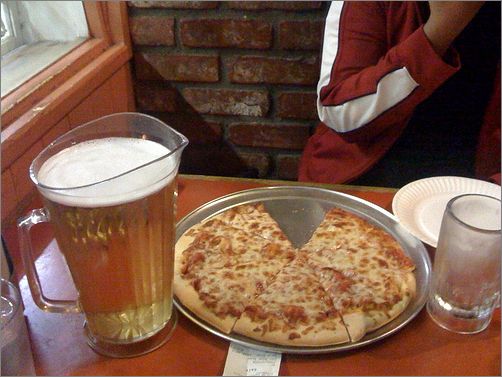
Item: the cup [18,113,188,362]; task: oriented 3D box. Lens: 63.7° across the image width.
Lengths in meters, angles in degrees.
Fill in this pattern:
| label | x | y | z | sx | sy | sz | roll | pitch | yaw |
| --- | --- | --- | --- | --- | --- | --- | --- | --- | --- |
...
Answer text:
| label | x | y | z | sx | sy | sz | roll | pitch | yaw |
| --- | --- | --- | --- | --- | --- | --- | --- | --- | --- |
| cup | -0.211 | 0.068 | 0.617 | 0.207 | 0.300 | 0.232 | 11 | 40 | 14 |
